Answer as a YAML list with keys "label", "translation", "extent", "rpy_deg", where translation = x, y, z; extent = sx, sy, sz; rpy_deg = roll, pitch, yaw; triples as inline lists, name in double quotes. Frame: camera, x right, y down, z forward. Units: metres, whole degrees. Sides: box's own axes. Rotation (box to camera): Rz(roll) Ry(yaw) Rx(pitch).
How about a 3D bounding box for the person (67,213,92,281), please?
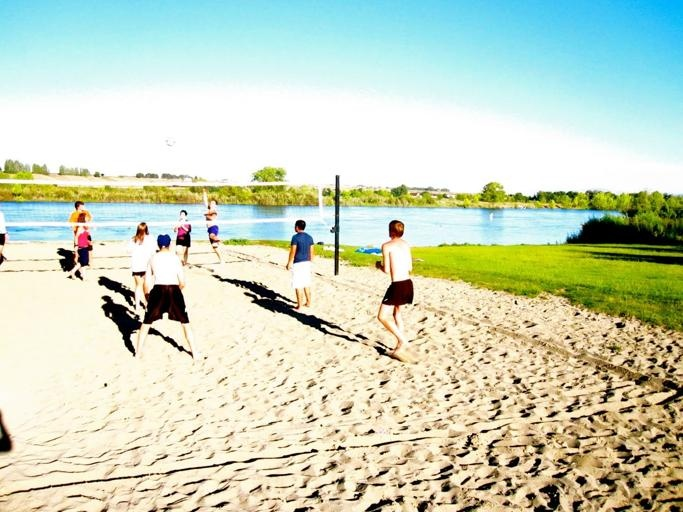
- label: "person"
  translation: [-6.402, -0.258, 13.272]
  extent: [0.588, 1.655, 1.480]
  rpy_deg: [-6, 12, -27]

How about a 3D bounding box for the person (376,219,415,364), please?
- label: "person"
  translation: [0.868, 0.547, 8.986]
  extent: [0.592, 2.270, 1.020]
  rpy_deg: [0, 10, 4]

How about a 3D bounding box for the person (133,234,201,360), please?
- label: "person"
  translation: [-3.059, 0.662, 9.332]
  extent: [0.998, 2.129, 1.458]
  rpy_deg: [-5, 11, -23]

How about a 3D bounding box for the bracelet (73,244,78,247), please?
- label: "bracelet"
  translation: [-6.720, -0.259, 13.791]
  extent: [0.087, 0.047, 0.129]
  rpy_deg: [8, 6, -1]
